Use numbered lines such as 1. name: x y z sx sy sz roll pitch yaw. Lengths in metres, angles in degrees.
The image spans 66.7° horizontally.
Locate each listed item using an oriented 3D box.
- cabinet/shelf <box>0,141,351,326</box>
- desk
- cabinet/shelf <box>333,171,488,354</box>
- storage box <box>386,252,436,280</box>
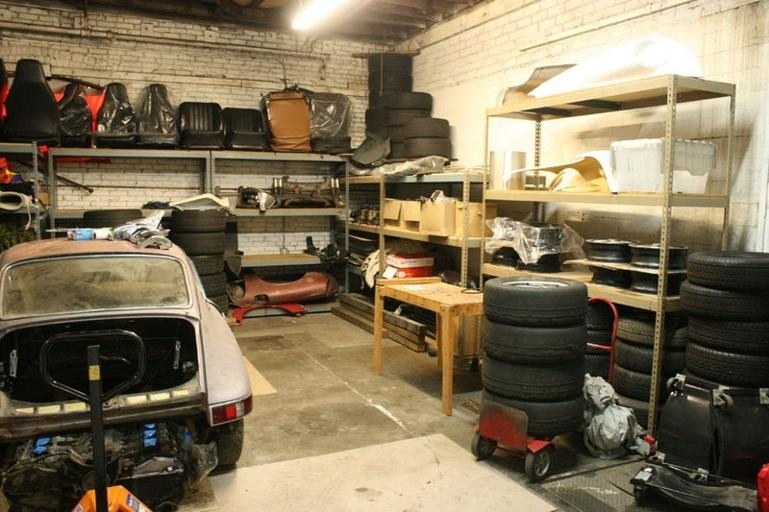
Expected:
1. cabinet/shelf: -2.374 -0.335 6.622 3.564 1.371 0.526 0 -1 -20
2. desk: 0.585 0.695 5.563 0.831 0.735 1.183 -5 9 -28
3. cabinet/shelf: 0.320 0.098 6.875 1.024 1.716 2.686 -4 7 -32
4. storage box: 0.317 0.077 7.278 0.549 0.201 0.383 -2 4 -34
